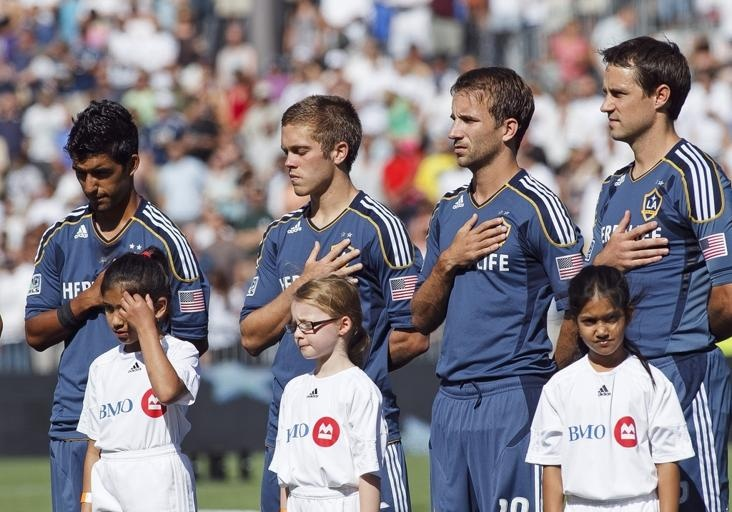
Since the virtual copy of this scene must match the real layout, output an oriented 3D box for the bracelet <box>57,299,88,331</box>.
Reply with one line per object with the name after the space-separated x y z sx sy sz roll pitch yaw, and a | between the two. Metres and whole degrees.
-2.467 0.526 13.168 0.120 0.238 0.210 41 -32 -15 | bracelet
